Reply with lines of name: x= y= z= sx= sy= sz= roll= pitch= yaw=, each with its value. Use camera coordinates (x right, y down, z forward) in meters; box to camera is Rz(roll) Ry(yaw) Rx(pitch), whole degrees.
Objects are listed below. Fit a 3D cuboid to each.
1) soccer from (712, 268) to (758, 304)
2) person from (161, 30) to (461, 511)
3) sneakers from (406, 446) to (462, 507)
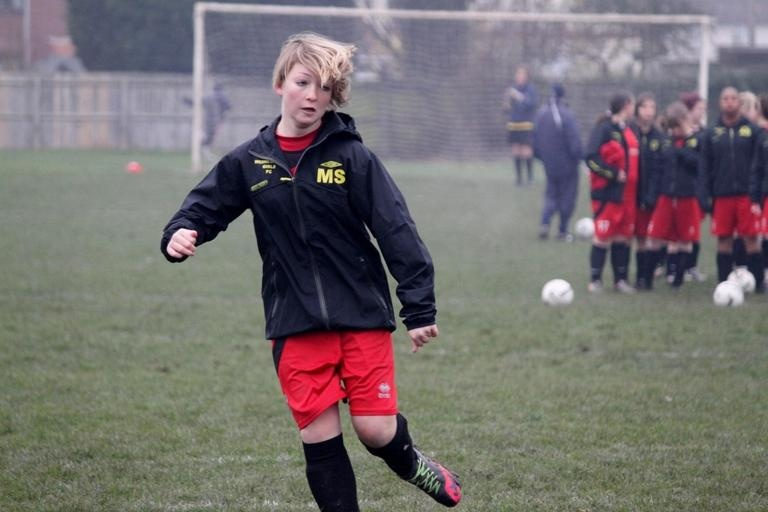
soccer: x=2.480 y=0.210 z=10.175 sx=0.183 sy=0.149 sz=0.331 roll=25 pitch=45 yaw=35
person: x=-0.331 y=0.093 z=8.205 sx=1.549 sy=2.696 sz=0.362 roll=2 pitch=5 yaw=6
sneakers: x=0.284 y=1.317 z=8.471 sx=0.398 sy=0.132 sz=0.185 roll=41 pitch=36 yaw=2
